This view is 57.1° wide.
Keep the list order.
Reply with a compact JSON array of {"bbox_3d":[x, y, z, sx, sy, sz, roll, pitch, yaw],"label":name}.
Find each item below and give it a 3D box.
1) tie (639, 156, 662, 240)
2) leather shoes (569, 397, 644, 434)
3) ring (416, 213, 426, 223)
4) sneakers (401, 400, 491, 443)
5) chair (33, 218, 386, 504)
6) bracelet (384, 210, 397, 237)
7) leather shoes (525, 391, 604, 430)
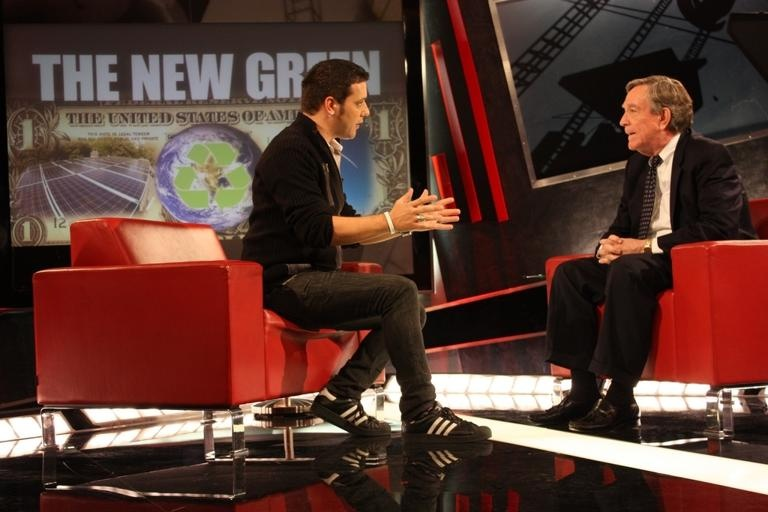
[{"bbox_3d":[1.420,-0.309,3.740,0.090,0.487,0.052,6,-4,-8],"label":"tie"},{"bbox_3d":[1.085,0.767,3.433,0.344,0.133,0.137,-1,-4,-9],"label":"leather shoes"},{"bbox_3d":[0.168,-0.171,3.135,0.041,0.038,0.014,0,-6,5],"label":"ring"},{"bbox_3d":[0.284,0.762,3.256,0.437,0.171,0.156,0,-4,0],"label":"sneakers"},{"bbox_3d":[-0.760,0.383,3.475,0.997,1.099,1.372,-3,-2,21],"label":"chair"},{"bbox_3d":[0.037,-0.145,3.167,0.048,0.076,0.076,-2,1,15],"label":"bracelet"},{"bbox_3d":[0.906,0.773,3.532,0.382,0.147,0.140,-8,-2,2],"label":"leather shoes"}]
